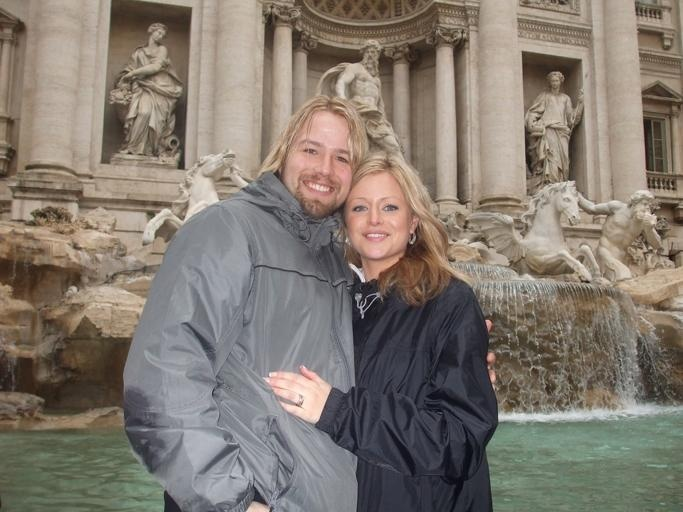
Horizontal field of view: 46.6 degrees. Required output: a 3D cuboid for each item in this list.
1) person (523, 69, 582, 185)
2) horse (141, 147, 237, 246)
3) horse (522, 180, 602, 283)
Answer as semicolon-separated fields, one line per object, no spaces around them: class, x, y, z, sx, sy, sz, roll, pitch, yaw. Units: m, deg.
person;5.695;-3.354;21.543;1.399;3.138;0.847;-1;-7;13
horse;-2.697;-1.100;14.781;2.374;1.186;0.750;-30;-17;20
horse;4.216;-0.488;15.704;0.691;2.079;1.501;5;-8;-35
